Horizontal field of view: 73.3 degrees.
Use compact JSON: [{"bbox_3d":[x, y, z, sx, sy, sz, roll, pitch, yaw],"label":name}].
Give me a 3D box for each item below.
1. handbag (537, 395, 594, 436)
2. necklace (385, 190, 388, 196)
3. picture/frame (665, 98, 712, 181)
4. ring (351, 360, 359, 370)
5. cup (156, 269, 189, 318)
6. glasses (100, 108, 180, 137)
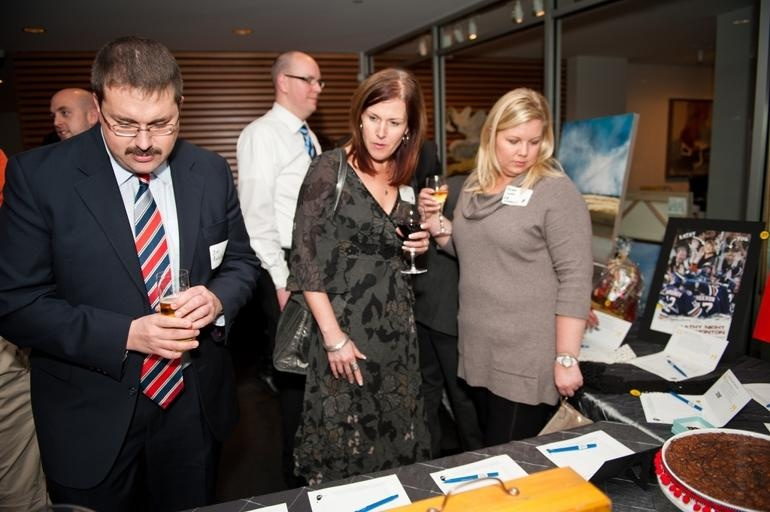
[{"bbox_3d":[0.837,0.731,2.375,0.066,0.168,0.160,5,36,-32],"label":"handbag"},{"bbox_3d":[0.007,-0.327,2.651,0.019,0.006,0.024,1,49,-4],"label":"necklace"},{"bbox_3d":[2.001,-0.776,3.420,0.103,0.518,0.345,-6,15,-24],"label":"picture/frame"},{"bbox_3d":[-0.147,0.528,2.499,0.040,0.053,0.017,-4,-3,-2],"label":"ring"},{"bbox_3d":[-0.854,0.134,2.088,0.119,0.154,0.228,-5,15,-20],"label":"cup"},{"bbox_3d":[-0.967,-0.518,2.054,0.272,0.088,0.099,-7,15,-27],"label":"glasses"}]
